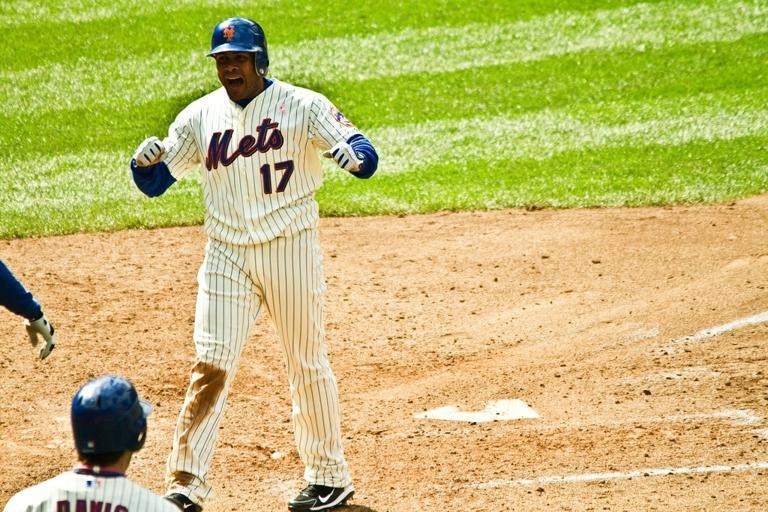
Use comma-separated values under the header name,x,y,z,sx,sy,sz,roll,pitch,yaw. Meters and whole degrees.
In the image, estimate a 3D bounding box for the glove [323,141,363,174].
name,x,y,z,sx,sy,sz,roll,pitch,yaw
glove,-0.350,-0.848,12.607,0.314,0.218,0.136,29,40,5

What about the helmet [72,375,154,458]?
name,x,y,z,sx,sy,sz,roll,pitch,yaw
helmet,-2.230,1.251,11.775,0.536,0.457,0.677,5,26,14

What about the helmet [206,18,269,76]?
name,x,y,z,sx,sy,sz,roll,pitch,yaw
helmet,-1.314,-1.866,12.872,0.496,0.451,0.579,9,15,40

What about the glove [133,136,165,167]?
name,x,y,z,sx,sy,sz,roll,pitch,yaw
glove,-2.064,-0.908,12.734,0.218,0.288,0.115,32,20,-40

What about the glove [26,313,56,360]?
name,x,y,z,sx,sy,sz,roll,pitch,yaw
glove,-3.106,0.738,13.370,0.379,0.439,0.152,7,30,39
